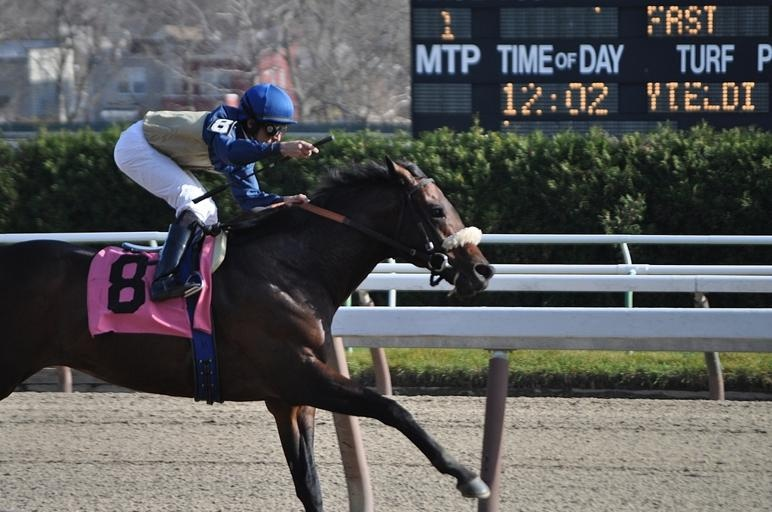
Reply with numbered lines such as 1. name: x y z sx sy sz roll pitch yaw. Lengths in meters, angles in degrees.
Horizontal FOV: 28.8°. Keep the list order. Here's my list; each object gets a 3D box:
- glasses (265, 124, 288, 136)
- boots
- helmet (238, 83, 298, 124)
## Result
1. glasses: -0.909 -1.032 12.248 0.134 0.123 0.042 3 -35 -16
2. boots: -1.682 0.001 12.008 0.411 0.700 0.340 1 10 -5
3. helmet: -0.968 -1.225 12.250 0.441 0.219 0.288 6 27 -17
